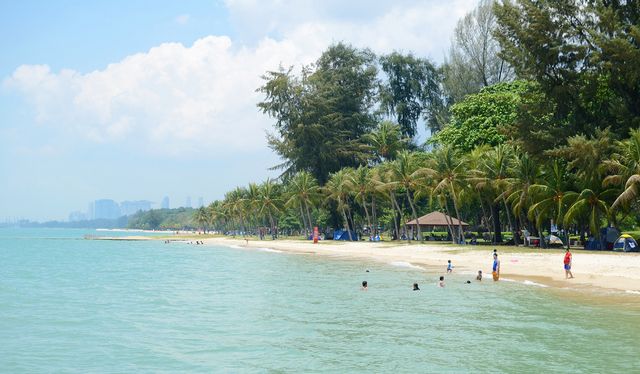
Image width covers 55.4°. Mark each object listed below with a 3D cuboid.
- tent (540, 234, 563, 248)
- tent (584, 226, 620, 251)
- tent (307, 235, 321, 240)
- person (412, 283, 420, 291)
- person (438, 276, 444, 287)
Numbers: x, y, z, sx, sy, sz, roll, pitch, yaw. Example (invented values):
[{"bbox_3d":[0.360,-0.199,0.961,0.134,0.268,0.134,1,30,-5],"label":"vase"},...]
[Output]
[{"bbox_3d":[28.434,6.685,74.177,2.105,0.815,2.063,-5,5,-39],"label":"tent"},{"bbox_3d":[30.702,5.658,66.327,2.756,1.800,2.691,1,-1,-22],"label":"tent"},{"bbox_3d":[-0.999,8.905,108.705,1.676,0.989,1.648,0,-10,-8],"label":"tent"},{"bbox_3d":[8.516,8.706,53.886,0.596,0.611,1.187,-1,10,9],"label":"person"},{"bbox_3d":[10.744,8.309,53.988,0.495,1.076,1.058,-1,10,11],"label":"person"}]
